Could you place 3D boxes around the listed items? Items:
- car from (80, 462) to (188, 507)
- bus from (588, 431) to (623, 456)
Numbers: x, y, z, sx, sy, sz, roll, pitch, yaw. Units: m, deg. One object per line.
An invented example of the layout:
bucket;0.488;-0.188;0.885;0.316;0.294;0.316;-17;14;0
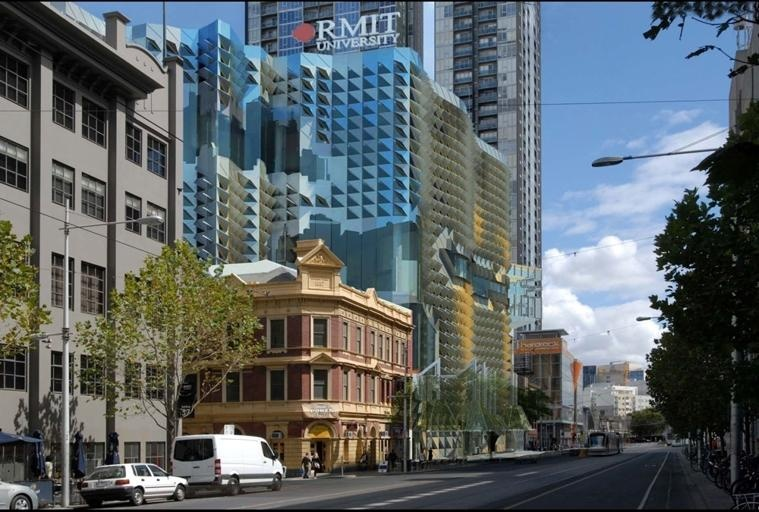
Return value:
car;-14.862;14.271;84.296;2.948;1.836;5.011;-10;-19;29
bus;27.190;22.955;165.051;2.535;2.436;8.430;-5;-17;16
